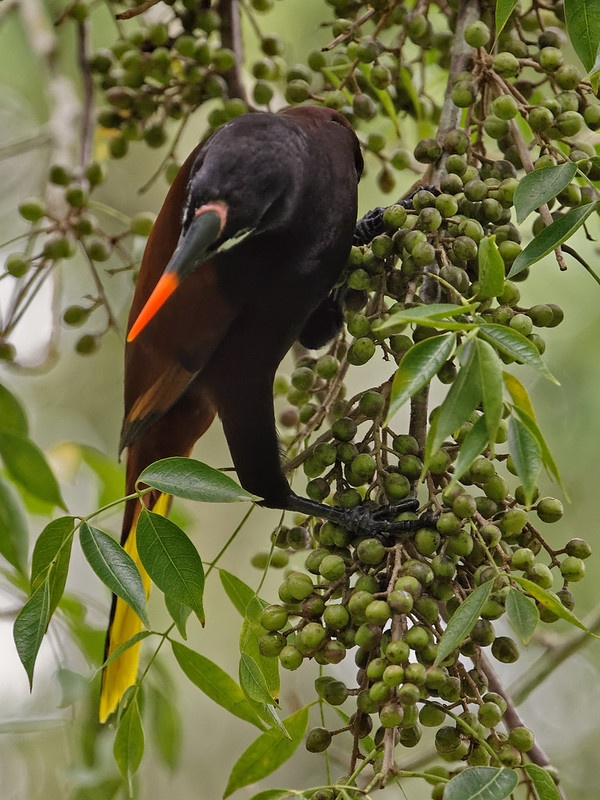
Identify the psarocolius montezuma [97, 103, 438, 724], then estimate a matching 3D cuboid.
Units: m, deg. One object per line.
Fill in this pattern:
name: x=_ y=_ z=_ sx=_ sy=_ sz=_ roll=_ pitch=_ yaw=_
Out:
psarocolius montezuma: x=-0.052 y=-0.080 z=1.186 sx=0.294 sy=0.702 sz=0.504 roll=2 pitch=-4 yaw=-1
